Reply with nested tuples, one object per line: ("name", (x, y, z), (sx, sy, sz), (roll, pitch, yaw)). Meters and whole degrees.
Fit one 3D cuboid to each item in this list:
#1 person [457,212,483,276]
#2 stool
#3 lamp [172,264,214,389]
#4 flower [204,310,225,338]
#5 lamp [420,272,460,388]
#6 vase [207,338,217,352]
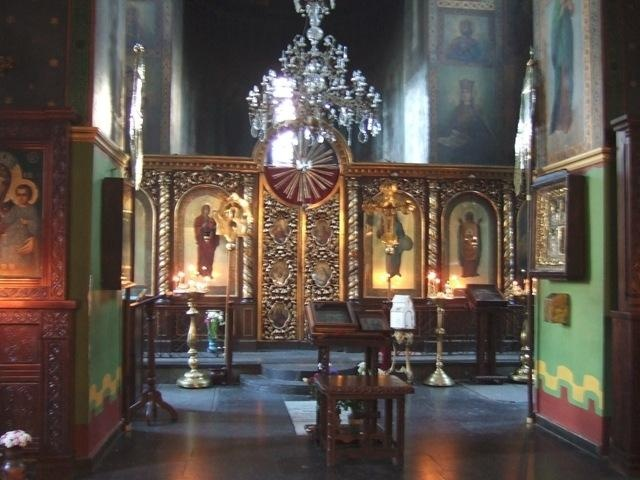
("person", (2.619, 0.081, 14.608), (0.415, 1.130, 0.106), (0, -2, -19))
("stool", (0.420, 1.914, 9.094), (0.770, 0.733, 1.104), (1, -3, -3))
("lamp", (-1.999, 1.327, 13.036), (0.595, 1.697, 2.324), (0, -2, -10))
("flower", (-1.716, 1.346, 13.654), (0.427, 0.507, 0.369), (1, 3, 10))
("lamp", (1.961, 1.346, 13.420), (0.501, 1.741, 2.242), (-1, -2, 9))
("vase", (-1.780, 1.725, 13.687), (0.199, 0.229, 0.200), (0, 1, 11))
